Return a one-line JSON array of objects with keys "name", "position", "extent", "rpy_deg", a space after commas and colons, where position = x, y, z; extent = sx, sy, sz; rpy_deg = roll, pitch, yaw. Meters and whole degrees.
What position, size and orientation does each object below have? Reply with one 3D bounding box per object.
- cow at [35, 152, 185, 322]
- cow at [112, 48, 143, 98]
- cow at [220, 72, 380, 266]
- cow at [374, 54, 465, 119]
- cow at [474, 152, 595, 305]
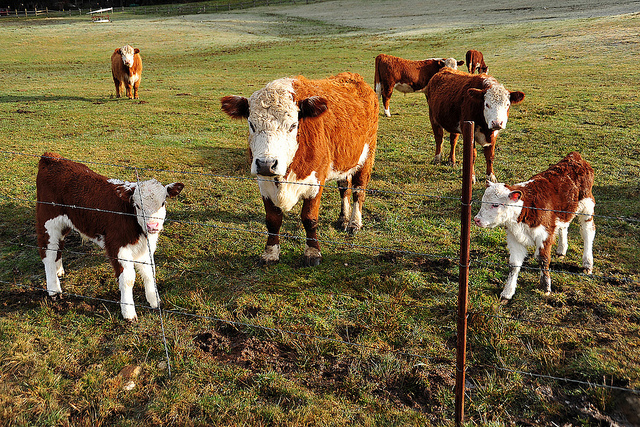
[{"name": "cow", "position": [-3.831, 0.415, 10.589], "extent": [2.963, 2.596, 1.107], "rpy_deg": [10, 18, 20]}, {"name": "cow", "position": [-7.111, -5.192, 21.589], "extent": [0.997, 1.666, 2.061], "rpy_deg": [-8, 21, -17]}, {"name": "cow", "position": [-0.033, -0.994, 12.593], "extent": [1.716, 3.644, 5.915], "rpy_deg": [6, 15, 20]}, {"name": "cow", "position": [3.047, -5.209, 22.244], "extent": [4.085, 2.501, 1.574], "rpy_deg": [-7, 27, -5]}, {"name": "cow", "position": [3.981, 0.285, 10.749], "extent": [2.987, 2.382, 0.799], "rpy_deg": [-15, 17, -29]}]
